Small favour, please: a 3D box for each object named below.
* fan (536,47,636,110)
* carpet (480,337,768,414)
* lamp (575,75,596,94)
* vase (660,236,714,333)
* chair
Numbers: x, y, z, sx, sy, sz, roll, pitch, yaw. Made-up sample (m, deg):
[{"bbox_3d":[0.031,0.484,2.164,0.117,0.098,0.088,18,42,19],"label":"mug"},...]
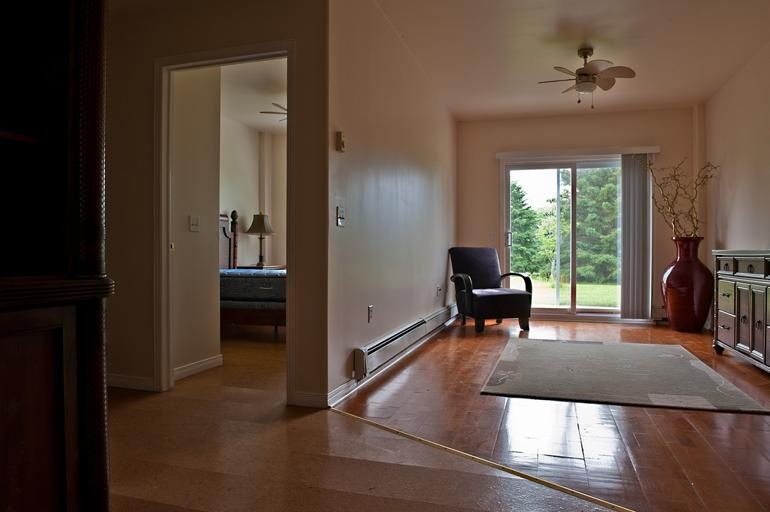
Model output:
[{"bbox_3d":[2.080,-1.837,5.300,0.816,0.513,0.842,4,8,42],"label":"fan"},{"bbox_3d":[1.834,0.956,4.468,1.870,0.097,1.972,1,5,14],"label":"carpet"},{"bbox_3d":[2.033,-1.741,5.276,0.160,0.119,0.158,2,-6,-25],"label":"lamp"},{"bbox_3d":[3.640,0.336,6.261,0.533,1.137,0.293,2,6,27],"label":"vase"},{"bbox_3d":[1.313,0.377,6.629,0.862,1.022,0.973,-1,1,-15],"label":"chair"}]
